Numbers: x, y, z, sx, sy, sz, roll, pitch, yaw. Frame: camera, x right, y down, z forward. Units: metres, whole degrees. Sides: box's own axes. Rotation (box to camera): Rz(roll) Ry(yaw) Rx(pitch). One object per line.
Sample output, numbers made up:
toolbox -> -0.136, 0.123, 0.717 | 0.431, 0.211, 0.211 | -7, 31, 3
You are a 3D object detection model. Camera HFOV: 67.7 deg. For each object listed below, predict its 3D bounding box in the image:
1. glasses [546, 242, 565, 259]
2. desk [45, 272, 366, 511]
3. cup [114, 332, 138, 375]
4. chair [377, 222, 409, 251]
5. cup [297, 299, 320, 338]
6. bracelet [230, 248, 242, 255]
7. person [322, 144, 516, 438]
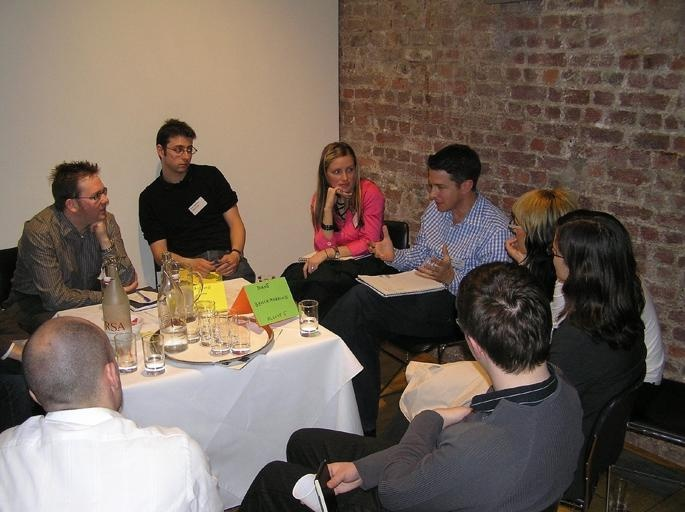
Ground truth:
glasses -> 0.797, -0.015, 1.914 | 0.054, 0.019, 0.055 | 12, 14, -8
desk -> -0.373, 0.555, 1.989 | 0.855, 0.493, 0.885 | 6, 10, 43
cup -> -0.775, 0.352, 1.841 | 0.073, 0.135, 0.079 | -5, 1, 0
chair -> 0.345, -0.128, 3.430 | 0.152, 0.237, 0.178 | -3, 1, 9
cup -> -0.142, 0.276, 2.154 | 0.090, 0.152, 0.091 | -1, -14, 0
bracelet -> -0.745, -0.031, 3.611 | 0.054, 0.023, 0.041 | 23, -4, -13
person -> 0.440, 0.288, 3.062 | 1.070, 1.712, 0.693 | 1, 0, 8
